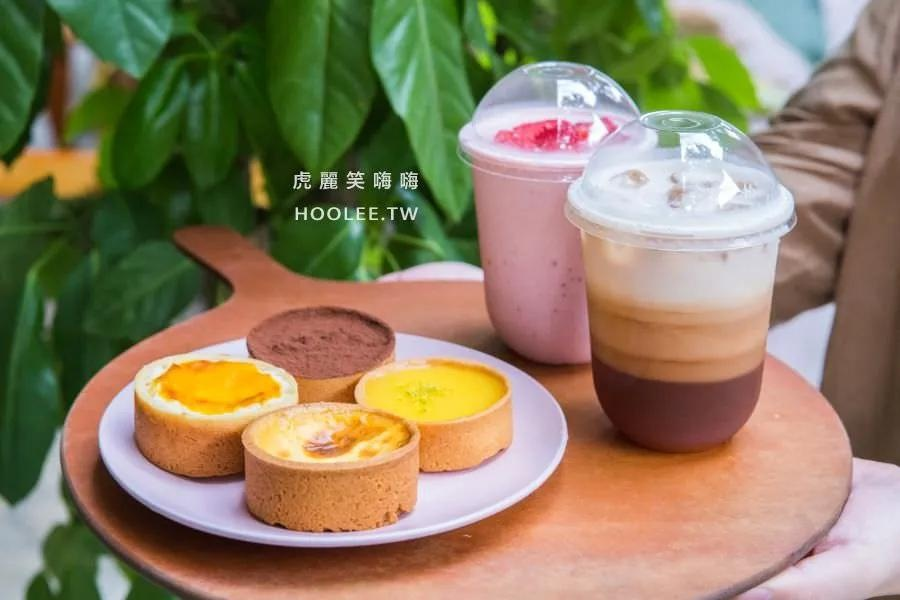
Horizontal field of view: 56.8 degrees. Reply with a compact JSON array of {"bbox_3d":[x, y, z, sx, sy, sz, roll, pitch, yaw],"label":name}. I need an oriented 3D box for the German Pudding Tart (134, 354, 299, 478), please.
[{"bbox_3d":[-0.364,0.165,1.249,0.249,0.103,0.248,-4,20,-45],"label":"German Pudding Tart"}]

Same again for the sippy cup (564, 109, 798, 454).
[{"bbox_3d":[0.360,-0.025,1.260,0.371,0.470,0.352,-3,15,1],"label":"sippy cup"}]

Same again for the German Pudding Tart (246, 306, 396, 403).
[{"bbox_3d":[-0.203,0.085,1.332,0.227,0.072,0.215,-5,29,-21],"label":"German Pudding Tart"}]

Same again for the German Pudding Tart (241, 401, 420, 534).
[{"bbox_3d":[-0.158,0.222,1.142,0.231,0.096,0.235,16,19,38],"label":"German Pudding Tart"}]

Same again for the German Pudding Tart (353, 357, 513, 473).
[{"bbox_3d":[-0.030,0.162,1.252,0.239,0.083,0.238,4,22,19],"label":"German Pudding Tart"}]
